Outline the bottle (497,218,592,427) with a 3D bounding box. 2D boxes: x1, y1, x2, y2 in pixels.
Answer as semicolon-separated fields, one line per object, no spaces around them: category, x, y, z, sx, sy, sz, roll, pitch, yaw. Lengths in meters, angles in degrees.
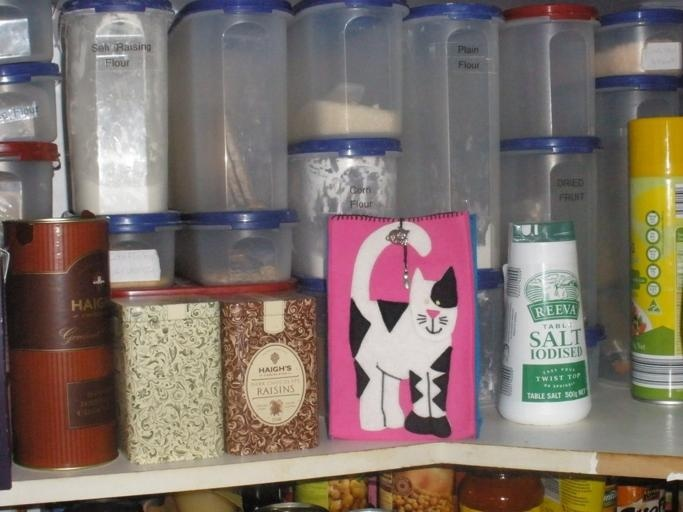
bottle;0.325;0.111;1.332;0.146;0.324;0.075;0;5;17
